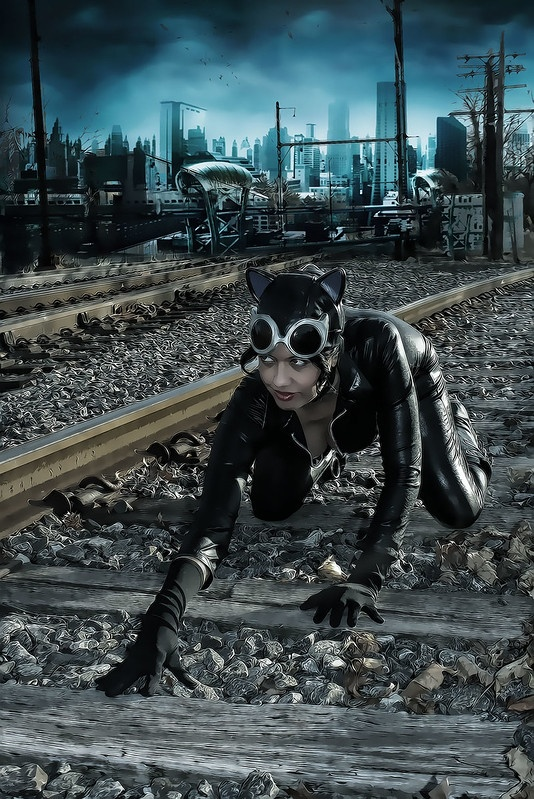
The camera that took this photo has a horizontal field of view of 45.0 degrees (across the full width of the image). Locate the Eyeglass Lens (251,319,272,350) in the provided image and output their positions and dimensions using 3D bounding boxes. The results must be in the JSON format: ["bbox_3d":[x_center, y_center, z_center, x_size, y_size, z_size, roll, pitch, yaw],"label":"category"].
[{"bbox_3d":[-0.020,-0.157,1.570,0.018,0.070,0.058,1,-2,-43],"label":"Eyeglass Lens"}]

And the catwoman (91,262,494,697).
[{"bbox_3d":[0.194,0.052,1.923,0.716,0.807,1.828,3,14,29],"label":"catwoman"}]

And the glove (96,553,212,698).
[{"bbox_3d":[-0.246,0.461,1.359,0.131,0.078,0.247,-9,31,20],"label":"glove"}]
